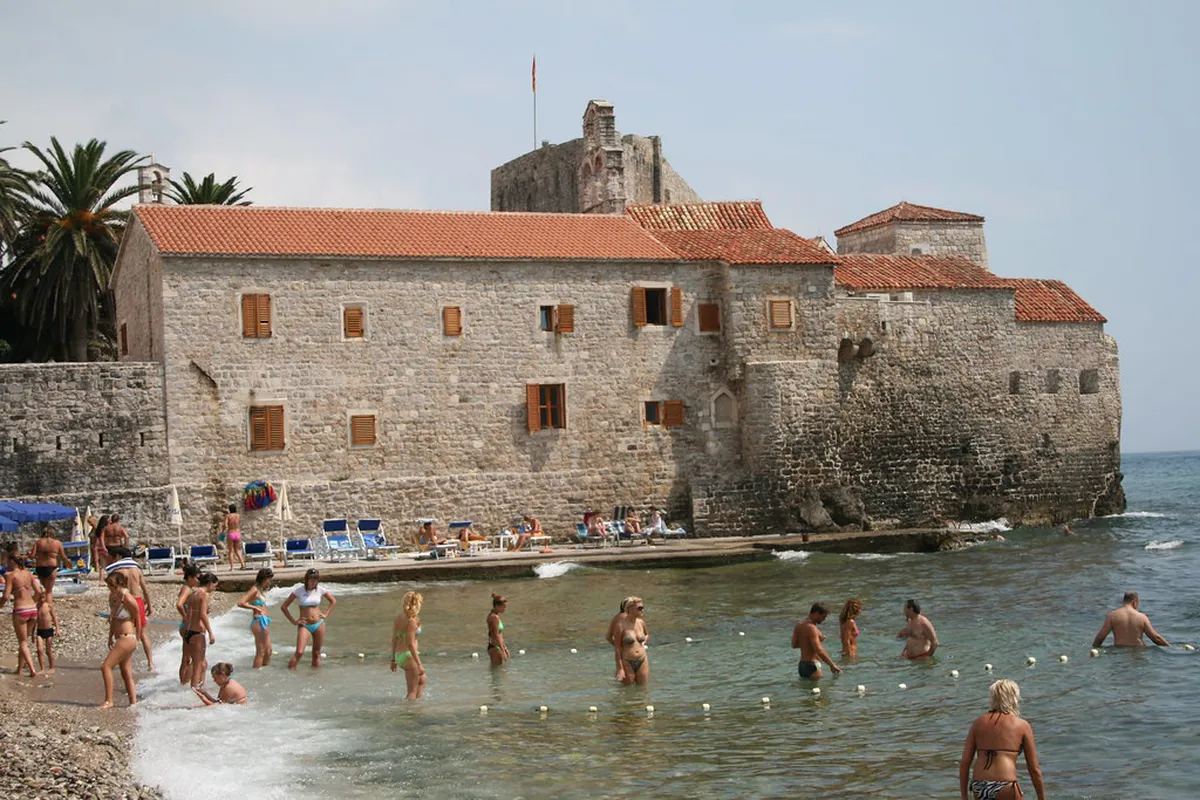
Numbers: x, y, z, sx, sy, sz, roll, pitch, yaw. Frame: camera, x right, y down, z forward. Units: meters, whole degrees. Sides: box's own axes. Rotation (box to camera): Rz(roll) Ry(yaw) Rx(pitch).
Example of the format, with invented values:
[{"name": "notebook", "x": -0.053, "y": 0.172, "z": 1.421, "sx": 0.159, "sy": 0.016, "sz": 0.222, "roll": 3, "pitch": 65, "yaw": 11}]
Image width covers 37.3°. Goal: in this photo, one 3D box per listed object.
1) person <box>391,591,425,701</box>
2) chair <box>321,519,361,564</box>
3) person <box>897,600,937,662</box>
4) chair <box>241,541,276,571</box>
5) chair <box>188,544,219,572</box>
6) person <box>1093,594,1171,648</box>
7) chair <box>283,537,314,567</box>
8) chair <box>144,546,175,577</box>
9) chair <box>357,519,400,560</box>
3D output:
[{"name": "person", "x": -4.113, "y": 5.106, "z": 37.668, "sx": 0.663, "sy": 2.469, "sz": 1.349, "roll": 0, "pitch": 10, "yaw": -6}, {"name": "chair", "x": -7.600, "y": 4.047, "z": 51.231, "sx": 0.858, "sy": 1.250, "sz": 1.203, "roll": 3, "pitch": -4, "yaw": -36}, {"name": "person", "x": 7.199, "y": 5.140, "z": 40.453, "sx": 0.868, "sy": 1.286, "sz": 1.221, "roll": 2, "pitch": 10, "yaw": 9}, {"name": "chair", "x": -9.587, "y": 4.309, "z": 49.408, "sx": 0.653, "sy": 0.663, "sz": 0.984, "roll": 0, "pitch": -6, "yaw": -17}, {"name": "chair", "x": -10.923, "y": 4.247, "z": 48.826, "sx": 0.644, "sy": 0.853, "sz": 0.800, "roll": 2, "pitch": -20, "yaw": -17}, {"name": "person", "x": 12.088, "y": 5.082, "z": 40.799, "sx": 1.630, "sy": 1.195, "sz": 0.902, "roll": 2, "pitch": 10, "yaw": 7}, {"name": "chair", "x": -8.661, "y": 4.273, "z": 50.492, "sx": 0.632, "sy": 0.630, "sz": 0.912, "roll": 0, "pitch": -12, "yaw": -19}, {"name": "chair", "x": -12.152, "y": 4.432, "z": 48.774, "sx": 0.799, "sy": 0.939, "sz": 0.787, "roll": 1, "pitch": -11, "yaw": -14}, {"name": "chair", "x": -6.580, "y": 4.077, "z": 51.544, "sx": 1.088, "sy": 0.937, "sz": 1.994, "roll": -1, "pitch": 10, "yaw": -8}]
